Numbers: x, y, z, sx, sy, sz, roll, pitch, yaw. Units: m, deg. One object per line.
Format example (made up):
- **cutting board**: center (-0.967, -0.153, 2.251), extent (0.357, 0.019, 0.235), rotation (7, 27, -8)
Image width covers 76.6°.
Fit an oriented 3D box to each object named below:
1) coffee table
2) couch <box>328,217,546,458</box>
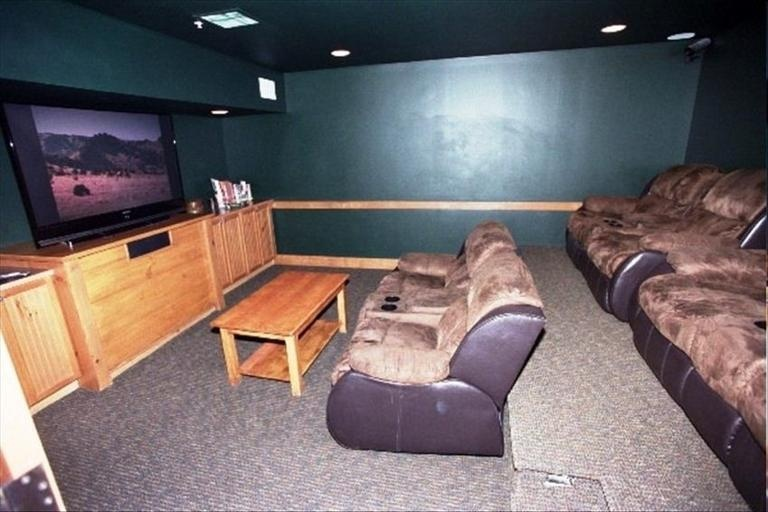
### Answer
- **coffee table**: center (-0.906, 0.685, 4.752), extent (0.776, 0.622, 1.265), rotation (4, 21, 14)
- **couch**: center (0.473, 0.601, 4.132), extent (1.471, 1.529, 1.523), rotation (4, 18, 8)
